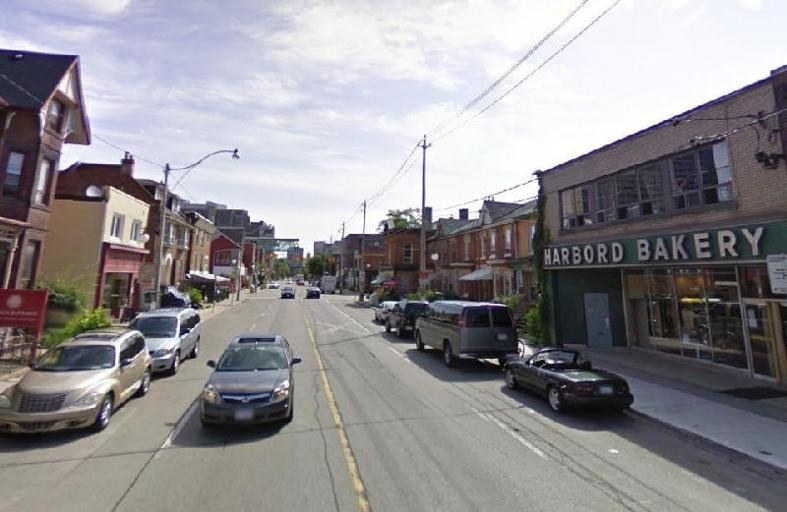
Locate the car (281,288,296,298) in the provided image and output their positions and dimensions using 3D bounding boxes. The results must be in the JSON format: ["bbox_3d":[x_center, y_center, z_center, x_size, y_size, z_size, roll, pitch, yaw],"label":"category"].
[{"bbox_3d":[-12.103,4.361,59.688,0.898,0.678,2.054,2,6,-3],"label":"car"}]

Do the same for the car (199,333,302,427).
[{"bbox_3d":[-4.422,3.895,16.013,2.619,2.427,1.940,3,-8,-17],"label":"car"}]

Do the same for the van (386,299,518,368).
[{"bbox_3d":[2.640,3.352,22.597,2.315,2.753,5.596,6,-10,-37],"label":"van"}]

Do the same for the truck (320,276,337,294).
[{"bbox_3d":[-10.510,4.656,84.077,2.066,1.934,3.211,2,1,-4],"label":"truck"}]

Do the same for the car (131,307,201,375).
[{"bbox_3d":[-9.060,3.280,20.661,1.699,1.307,2.927,-1,-6,-6],"label":"car"}]
